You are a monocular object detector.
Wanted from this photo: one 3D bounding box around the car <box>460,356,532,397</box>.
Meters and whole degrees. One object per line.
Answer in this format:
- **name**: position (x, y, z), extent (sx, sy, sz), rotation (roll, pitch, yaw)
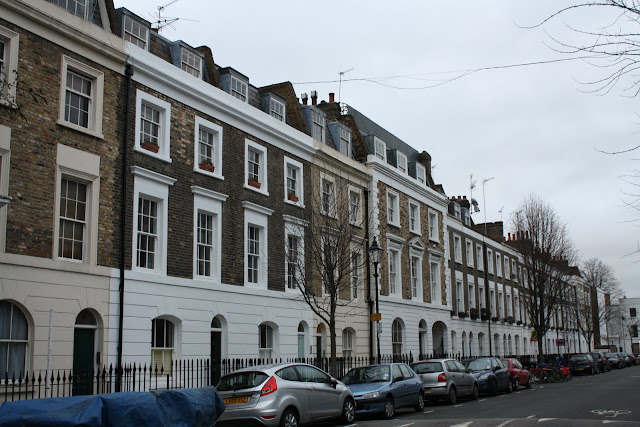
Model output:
- **car**: position (8.906, 8.202, 36.786), extent (1.961, 1.430, 4.347), rotation (-9, -20, 26)
